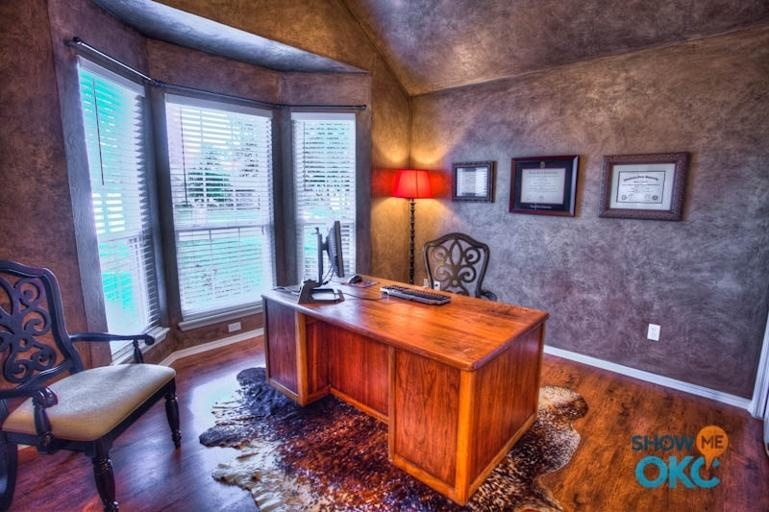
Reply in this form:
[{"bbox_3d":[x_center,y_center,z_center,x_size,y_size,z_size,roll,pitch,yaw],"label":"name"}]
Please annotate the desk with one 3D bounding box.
[{"bbox_3d":[0.319,0.701,3.799,2.566,1.173,1.348,11,18,40],"label":"desk"}]
